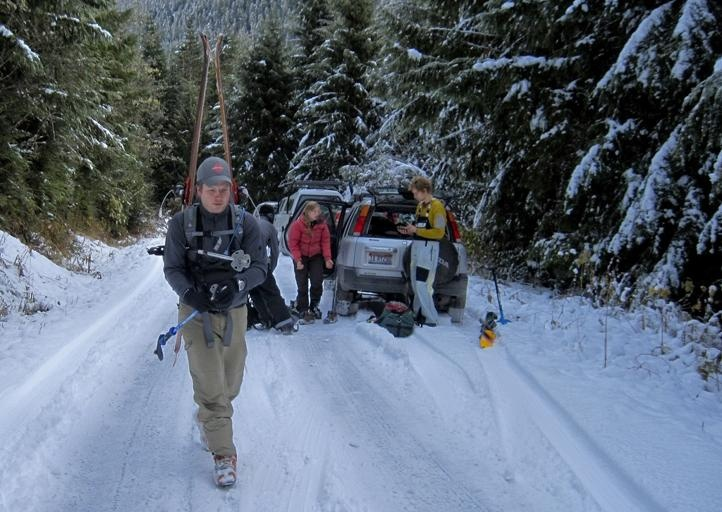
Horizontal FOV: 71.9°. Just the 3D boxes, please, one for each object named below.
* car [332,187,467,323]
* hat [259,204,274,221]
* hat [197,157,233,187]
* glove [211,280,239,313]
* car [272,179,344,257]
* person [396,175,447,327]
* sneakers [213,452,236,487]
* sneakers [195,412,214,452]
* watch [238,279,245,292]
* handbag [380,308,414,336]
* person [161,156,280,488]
[{"bbox_3d":[0.487,-0.283,9.354,1.507,1.825,2.994,1,11,-3],"label":"car"},{"bbox_3d":[-2.387,-1.123,12.466,0.483,0.405,0.853,4,7,-9],"label":"hat"},{"bbox_3d":[-1.503,-0.850,4.978,0.225,0.220,0.339,-5,12,-36],"label":"hat"},{"bbox_3d":[-1.326,0.366,4.779,0.200,0.325,0.107,8,7,-8],"label":"glove"},{"bbox_3d":[-1.494,-1.040,14.373,1.807,1.988,3.233,-2,13,-12],"label":"car"},{"bbox_3d":[1.045,-0.089,8.111,0.752,2.415,0.637,5,6,12],"label":"person"},{"bbox_3d":[-1.336,2.114,4.885,0.222,0.271,0.165,3,6,-14],"label":"sneakers"},{"bbox_3d":[-1.612,1.810,5.095,0.128,0.468,0.195,-16,-24,-26],"label":"sneakers"},{"bbox_3d":[-1.196,0.287,4.903,0.066,0.110,0.037,6,-6,-24],"label":"watch"},{"bbox_3d":[0.581,1.055,7.937,0.433,0.378,0.457,-3,13,2],"label":"handbag"},{"bbox_3d":[-1.475,0.614,4.981,0.976,3.194,0.712,3,6,-12],"label":"person"}]
